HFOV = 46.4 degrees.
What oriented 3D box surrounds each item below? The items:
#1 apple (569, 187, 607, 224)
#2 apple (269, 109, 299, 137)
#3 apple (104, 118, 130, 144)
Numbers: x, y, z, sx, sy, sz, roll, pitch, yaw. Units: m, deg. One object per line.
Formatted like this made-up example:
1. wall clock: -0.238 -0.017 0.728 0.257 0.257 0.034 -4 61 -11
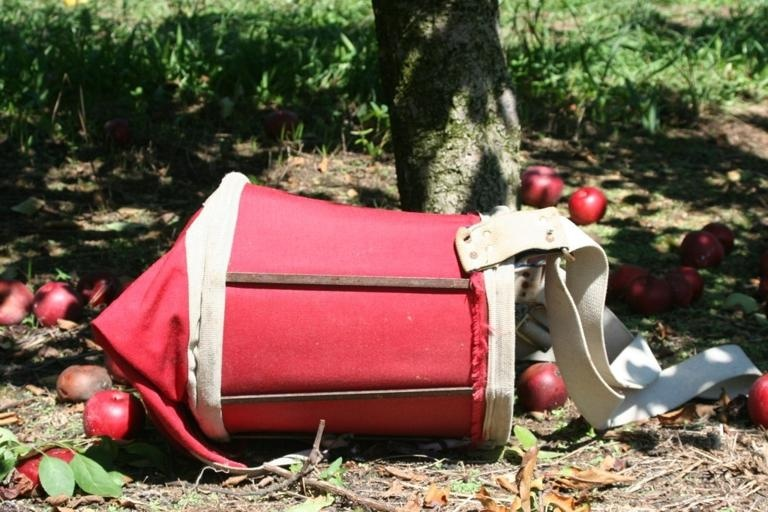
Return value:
1. apple: 1.894 -0.431 8.381 0.364 0.396 0.394 -1 -11 22
2. apple: -1.072 -1.400 9.455 0.258 0.268 0.266 0 20 0
3. apple: -2.760 -1.313 9.426 0.266 0.226 0.204 26 33 30
